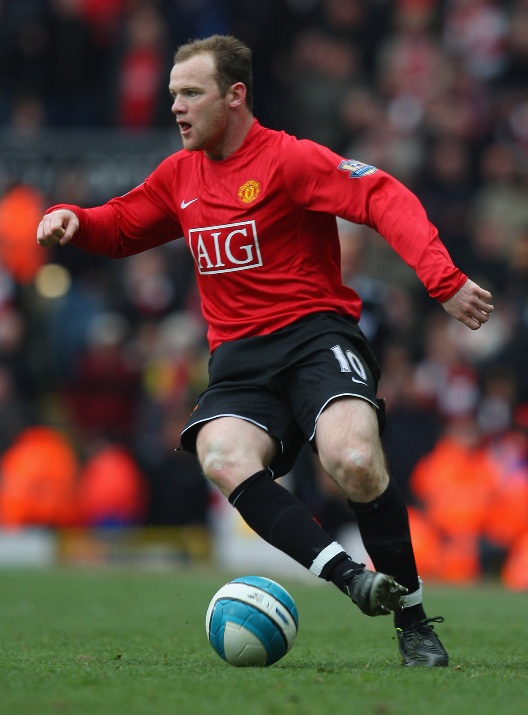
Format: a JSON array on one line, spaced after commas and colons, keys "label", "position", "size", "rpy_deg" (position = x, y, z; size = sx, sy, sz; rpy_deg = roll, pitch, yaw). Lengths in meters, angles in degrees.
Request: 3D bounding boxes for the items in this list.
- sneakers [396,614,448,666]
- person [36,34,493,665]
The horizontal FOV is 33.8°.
[{"label": "sneakers", "position": [0.426, 0.763, 2.320], "size": [0.125, 0.087, 0.206], "rpy_deg": [-1, 21, -3]}, {"label": "person", "position": [0.042, -0.069, 2.446], "size": [0.670, 1.569, 1.457], "rpy_deg": [-15, 26, -30]}]
